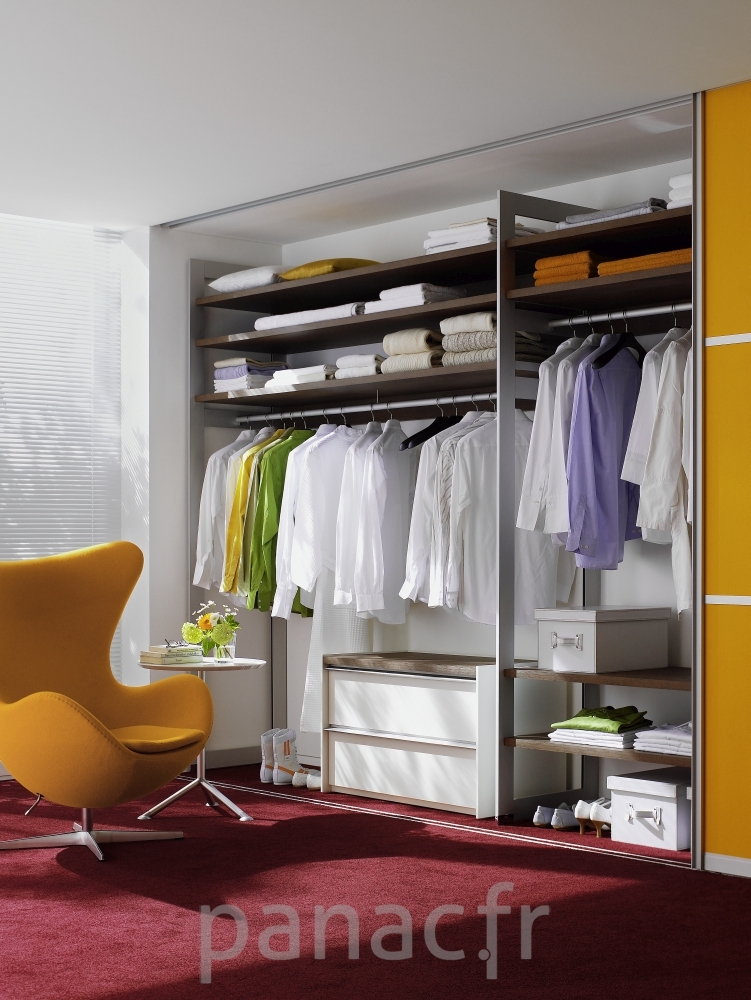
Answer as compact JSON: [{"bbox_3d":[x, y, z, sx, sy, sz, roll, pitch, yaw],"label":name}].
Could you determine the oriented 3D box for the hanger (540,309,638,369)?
[{"bbox_3d":[0.892,-0.672,3.600,0.165,0.206,0.365,5,-4,-39],"label":"hanger"}]

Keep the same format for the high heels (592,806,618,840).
[{"bbox_3d":[0.864,1.234,3.333,0.071,0.093,0.191,-2,-3,9],"label":"high heels"}]

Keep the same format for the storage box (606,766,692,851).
[{"bbox_3d":[0.990,1.134,3.153,0.276,0.239,0.197,-2,-12,12],"label":"storage box"}]

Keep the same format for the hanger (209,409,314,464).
[{"bbox_3d":[-0.662,-0.372,4.975,0.505,0.266,0.290,2,3,43],"label":"hanger"}]

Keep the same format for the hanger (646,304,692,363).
[{"bbox_3d":[1.123,-0.650,3.317,0.033,0.257,0.407,2,5,43],"label":"hanger"}]

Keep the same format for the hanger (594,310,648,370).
[{"bbox_3d":[0.973,-0.589,3.471,0.074,0.219,0.435,-8,-13,34],"label":"hanger"}]

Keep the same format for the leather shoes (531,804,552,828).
[{"bbox_3d":[0.657,1.266,3.452,0.044,0.047,0.119,-1,-1,27],"label":"leather shoes"}]

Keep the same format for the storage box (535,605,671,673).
[{"bbox_3d":[0.915,0.546,3.469,0.390,0.186,0.293,4,-6,-38],"label":"storage box"}]
